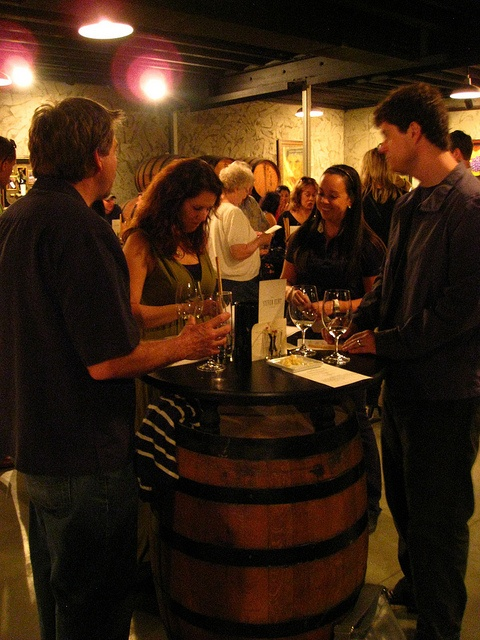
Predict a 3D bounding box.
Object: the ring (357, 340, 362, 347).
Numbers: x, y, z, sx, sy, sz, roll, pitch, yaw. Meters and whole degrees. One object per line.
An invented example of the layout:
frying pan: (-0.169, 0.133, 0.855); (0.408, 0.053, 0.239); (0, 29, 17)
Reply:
ring: (0.398, 0.073, 1.706); (0.016, 0.020, 0.010); (-2, 0, 41)

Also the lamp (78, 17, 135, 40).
lamp: (-0.971, -2.085, 3.675); (0.360, 0.077, 0.303); (7, 12, 36)
